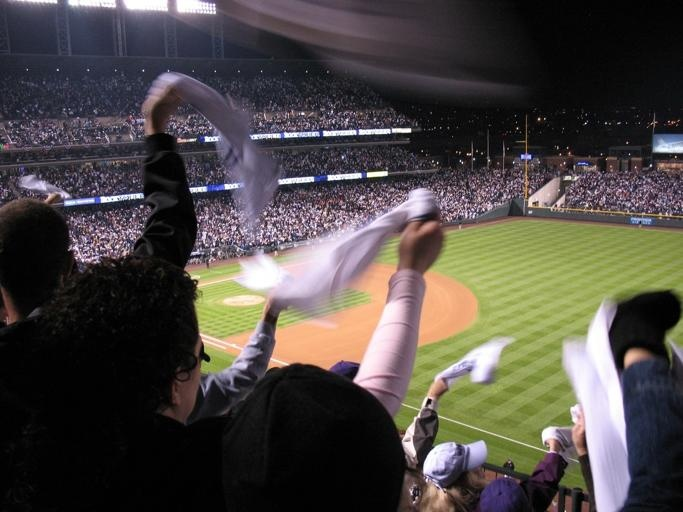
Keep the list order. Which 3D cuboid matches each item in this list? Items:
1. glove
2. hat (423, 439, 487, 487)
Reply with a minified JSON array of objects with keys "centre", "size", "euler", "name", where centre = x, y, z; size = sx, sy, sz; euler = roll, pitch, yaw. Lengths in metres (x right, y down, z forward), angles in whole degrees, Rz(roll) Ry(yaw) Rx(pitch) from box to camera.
[{"centre":[0.974,0.231,1.687],"size":[0.150,0.257,0.243],"euler":[16,10,24],"name":"glove"},{"centre":[0.904,1.627,4.128],"size":[0.470,0.187,0.301],"euler":[-25,29,-15],"name":"hat"}]
